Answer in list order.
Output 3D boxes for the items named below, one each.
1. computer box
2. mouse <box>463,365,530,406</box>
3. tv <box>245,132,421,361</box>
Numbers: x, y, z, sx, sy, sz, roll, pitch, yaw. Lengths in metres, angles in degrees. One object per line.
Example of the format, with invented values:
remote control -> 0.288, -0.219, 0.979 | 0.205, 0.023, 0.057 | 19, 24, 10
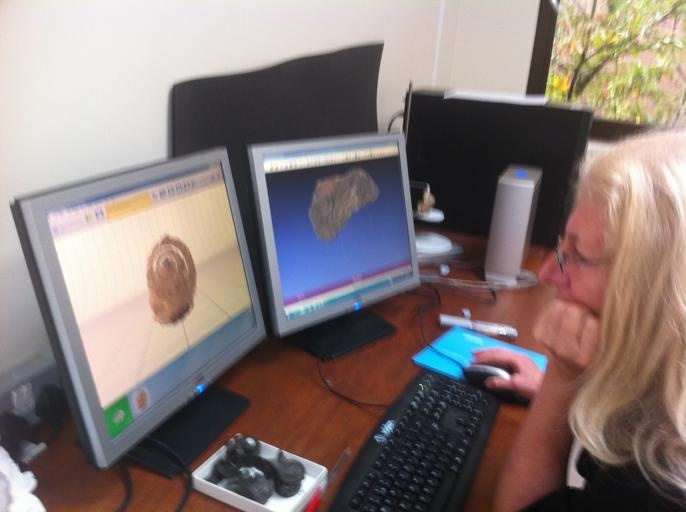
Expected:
computer box -> 0.579, -0.431, 1.891 | 0.588, 0.473, 0.332 | 15, 39, 26
mouse -> 0.344, 0.277, 1.087 | 0.110, 0.039, 0.067 | 17, 26, 12
tv -> -0.034, -0.019, 1.199 | 0.153, 0.464, 0.436 | 12, 22, 42
